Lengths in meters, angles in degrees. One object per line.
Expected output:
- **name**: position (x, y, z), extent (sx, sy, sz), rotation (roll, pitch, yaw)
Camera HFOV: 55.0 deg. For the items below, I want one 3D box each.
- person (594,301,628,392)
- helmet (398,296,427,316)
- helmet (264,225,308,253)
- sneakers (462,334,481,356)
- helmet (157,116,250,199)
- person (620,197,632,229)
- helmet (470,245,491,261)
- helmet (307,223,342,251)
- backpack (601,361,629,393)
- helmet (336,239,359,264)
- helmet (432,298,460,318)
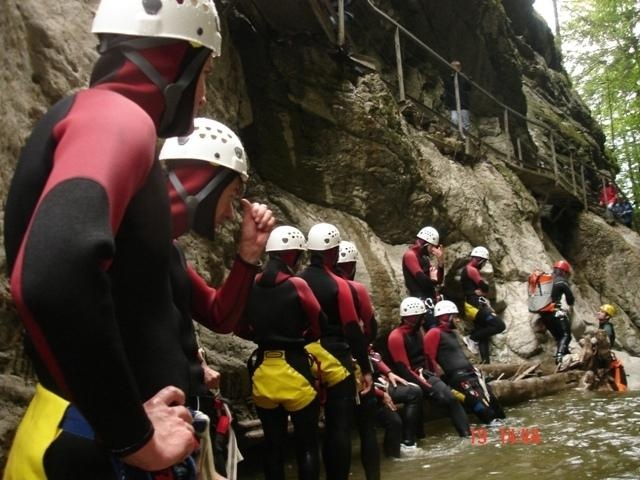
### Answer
- **person**: position (6.544, 2.436, 13.838), extent (0.813, 1.666, 0.404), rotation (-2, -2, -36)
- **helmet**: position (1.309, 0.936, 8.698), extent (0.296, 0.261, 0.247), rotation (6, -8, -1)
- **helmet**: position (-0.336, -0.008, 6.162), extent (0.315, 0.202, 0.238), rotation (-1, 1, -13)
- **sneakers**: position (3.005, 2.074, 12.229), extent (0.188, 0.416, 0.162), rotation (-31, -11, 7)
- **helmet**: position (-0.690, -0.517, 3.630), extent (0.446, 0.404, 0.357), rotation (17, -9, -19)
- **person**: position (11.973, -1.082, 24.043), extent (0.383, 1.291, 1.482), rotation (-6, -7, 26)
- **helmet**: position (3.346, 0.276, 12.756), extent (0.321, 0.245, 0.246), rotation (9, 3, -43)
- **helmet**: position (0.032, -0.032, 6.747), extent (0.320, 0.262, 0.260), rotation (-24, 13, -10)
- **backpack**: position (5.837, 2.710, 12.173), extent (0.359, 0.659, 0.356), rotation (-9, -36, 13)
- **helmet**: position (0.310, 0.164, 7.855), extent (0.262, 0.251, 0.219), rotation (-12, -10, 41)
- **helmet**: position (1.883, 1.042, 9.437), extent (0.284, 0.185, 0.239), rotation (3, 4, 38)
